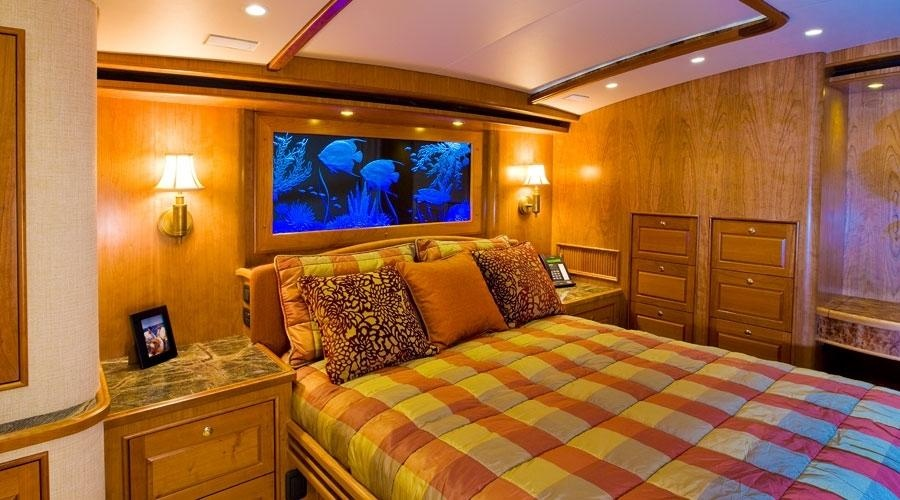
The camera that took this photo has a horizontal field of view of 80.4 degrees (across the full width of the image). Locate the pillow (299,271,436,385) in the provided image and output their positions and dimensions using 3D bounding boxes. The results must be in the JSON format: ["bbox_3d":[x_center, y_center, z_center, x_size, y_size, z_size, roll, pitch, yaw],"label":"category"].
[{"bbox_3d":[-0.582,0.532,3.772,0.888,0.766,0.256,-13,-15,-33],"label":"pillow"}]

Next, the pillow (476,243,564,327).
[{"bbox_3d":[0.563,0.277,4.466,0.753,0.635,0.222,-17,-11,-40],"label":"pillow"}]

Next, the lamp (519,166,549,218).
[{"bbox_3d":[0.927,-0.642,5.780,0.354,0.541,0.384,-5,6,-27],"label":"lamp"}]

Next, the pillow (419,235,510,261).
[{"bbox_3d":[0.071,-0.004,4.573,0.934,0.169,0.240,-3,-2,-27],"label":"pillow"}]

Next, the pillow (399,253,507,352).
[{"bbox_3d":[-0.051,0.382,4.180,0.748,0.673,0.218,-18,-15,-42],"label":"pillow"}]

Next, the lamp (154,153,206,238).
[{"bbox_3d":[-2.030,-0.399,3.997,0.348,0.634,0.174,-12,11,-25],"label":"lamp"}]
